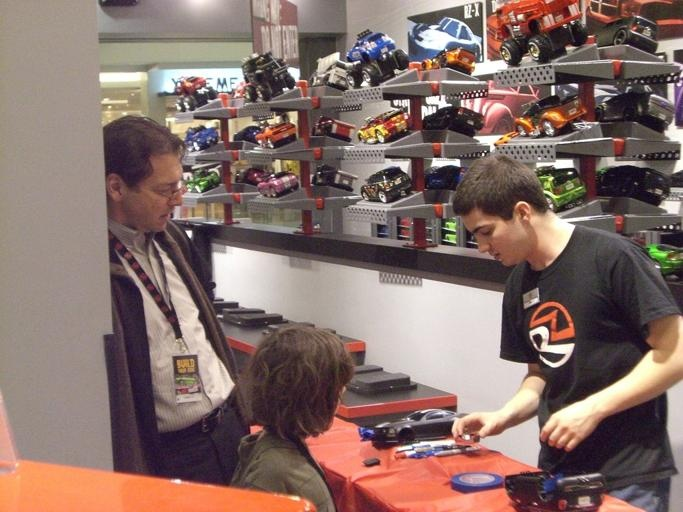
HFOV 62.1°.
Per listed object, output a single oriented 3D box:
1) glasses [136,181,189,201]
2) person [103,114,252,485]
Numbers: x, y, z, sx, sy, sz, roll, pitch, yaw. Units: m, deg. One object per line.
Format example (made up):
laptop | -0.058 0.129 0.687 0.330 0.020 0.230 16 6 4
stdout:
glasses | -0.601 -0.217 1.935 0.061 0.052 0.158 1 10 31
person | -0.557 0.194 1.914 0.409 1.343 0.709 -6 9 -12
